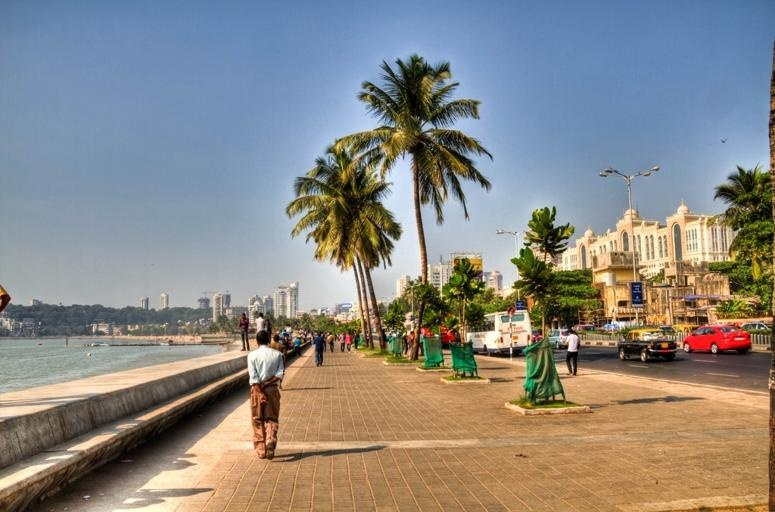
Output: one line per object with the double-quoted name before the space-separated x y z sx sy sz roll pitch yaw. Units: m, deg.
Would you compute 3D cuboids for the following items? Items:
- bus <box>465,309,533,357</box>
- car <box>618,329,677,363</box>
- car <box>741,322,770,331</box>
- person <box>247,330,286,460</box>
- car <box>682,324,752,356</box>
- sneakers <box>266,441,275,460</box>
"bus" 8.787 5.948 43.867 3.398 3.167 10.830 0 -4 -7
"car" 15.305 5.209 33.626 1.829 1.941 2.762 0 -9 -19
"car" 29.484 5.776 45.685 1.544 0.680 0.871 -8 -8 30
"person" -2.406 2.717 11.392 0.664 2.482 0.675 -1 -7 -14
"car" 22.446 5.698 38.947 1.824 1.888 3.602 2 -10 -30
"sneakers" -2.247 3.758 11.037 0.141 0.338 0.150 1 -7 -5
